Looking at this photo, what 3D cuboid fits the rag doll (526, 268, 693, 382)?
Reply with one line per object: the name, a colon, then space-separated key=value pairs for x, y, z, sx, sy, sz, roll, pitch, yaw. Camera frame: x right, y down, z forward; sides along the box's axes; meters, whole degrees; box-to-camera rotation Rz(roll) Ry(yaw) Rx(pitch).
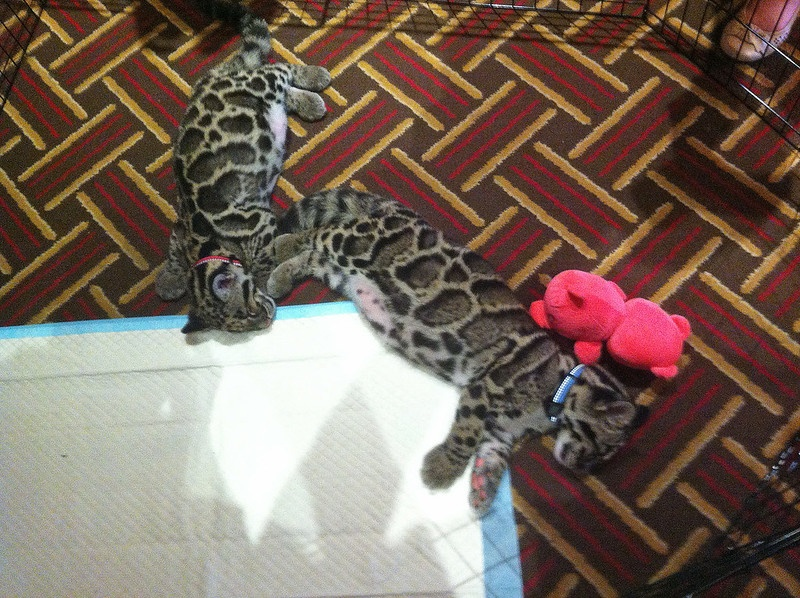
rag doll: x=0.955 y=0.082 z=5.546 sx=0.701 sy=0.492 sz=0.285 roll=26 pitch=-34 yaw=8
